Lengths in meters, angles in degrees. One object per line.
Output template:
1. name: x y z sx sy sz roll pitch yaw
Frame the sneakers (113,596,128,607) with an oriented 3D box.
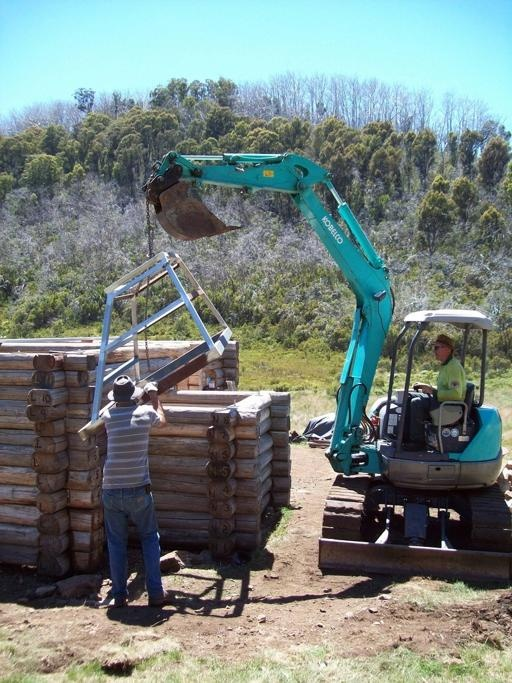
1. sneakers: -1.177 2.250 5.801 0.125 0.089 0.150 -2 0 -14

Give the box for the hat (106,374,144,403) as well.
1. hat: -1.182 0.438 6.043 0.269 0.118 0.276 -4 22 -13

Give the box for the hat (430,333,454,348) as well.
1. hat: 2.096 -0.014 7.496 0.200 0.070 0.148 12 -4 -9

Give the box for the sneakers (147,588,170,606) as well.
1. sneakers: -0.845 2.237 5.868 0.091 0.099 0.252 -1 -3 16

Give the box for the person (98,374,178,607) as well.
1. person: -1.068 1.319 5.866 0.533 1.974 0.278 -3 1 -8

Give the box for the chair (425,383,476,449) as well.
1. chair: 2.119 0.811 7.419 0.646 0.714 0.636 1 1 -30
